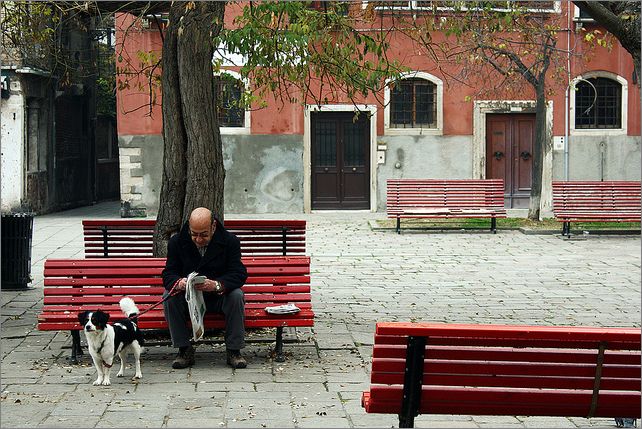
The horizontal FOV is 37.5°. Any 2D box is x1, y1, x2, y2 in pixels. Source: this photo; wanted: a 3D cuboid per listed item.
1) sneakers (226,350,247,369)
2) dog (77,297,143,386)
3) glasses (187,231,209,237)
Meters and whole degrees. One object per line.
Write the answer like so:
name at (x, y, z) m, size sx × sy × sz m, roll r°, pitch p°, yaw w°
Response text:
sneakers at (-1.144, 2.000, 13.094) m, size 0.270 × 0.233 × 0.307 m, roll -3°, pitch 7°, yaw -17°
dog at (-2.801, 1.717, 12.782) m, size 0.509 × 1.078 × 1.386 m, roll -2°, pitch 0°, yaw 19°
glasses at (-1.654, 0.266, 12.935) m, size 0.251 × 0.087 × 0.081 m, roll 0°, pitch 7°, yaw 9°
